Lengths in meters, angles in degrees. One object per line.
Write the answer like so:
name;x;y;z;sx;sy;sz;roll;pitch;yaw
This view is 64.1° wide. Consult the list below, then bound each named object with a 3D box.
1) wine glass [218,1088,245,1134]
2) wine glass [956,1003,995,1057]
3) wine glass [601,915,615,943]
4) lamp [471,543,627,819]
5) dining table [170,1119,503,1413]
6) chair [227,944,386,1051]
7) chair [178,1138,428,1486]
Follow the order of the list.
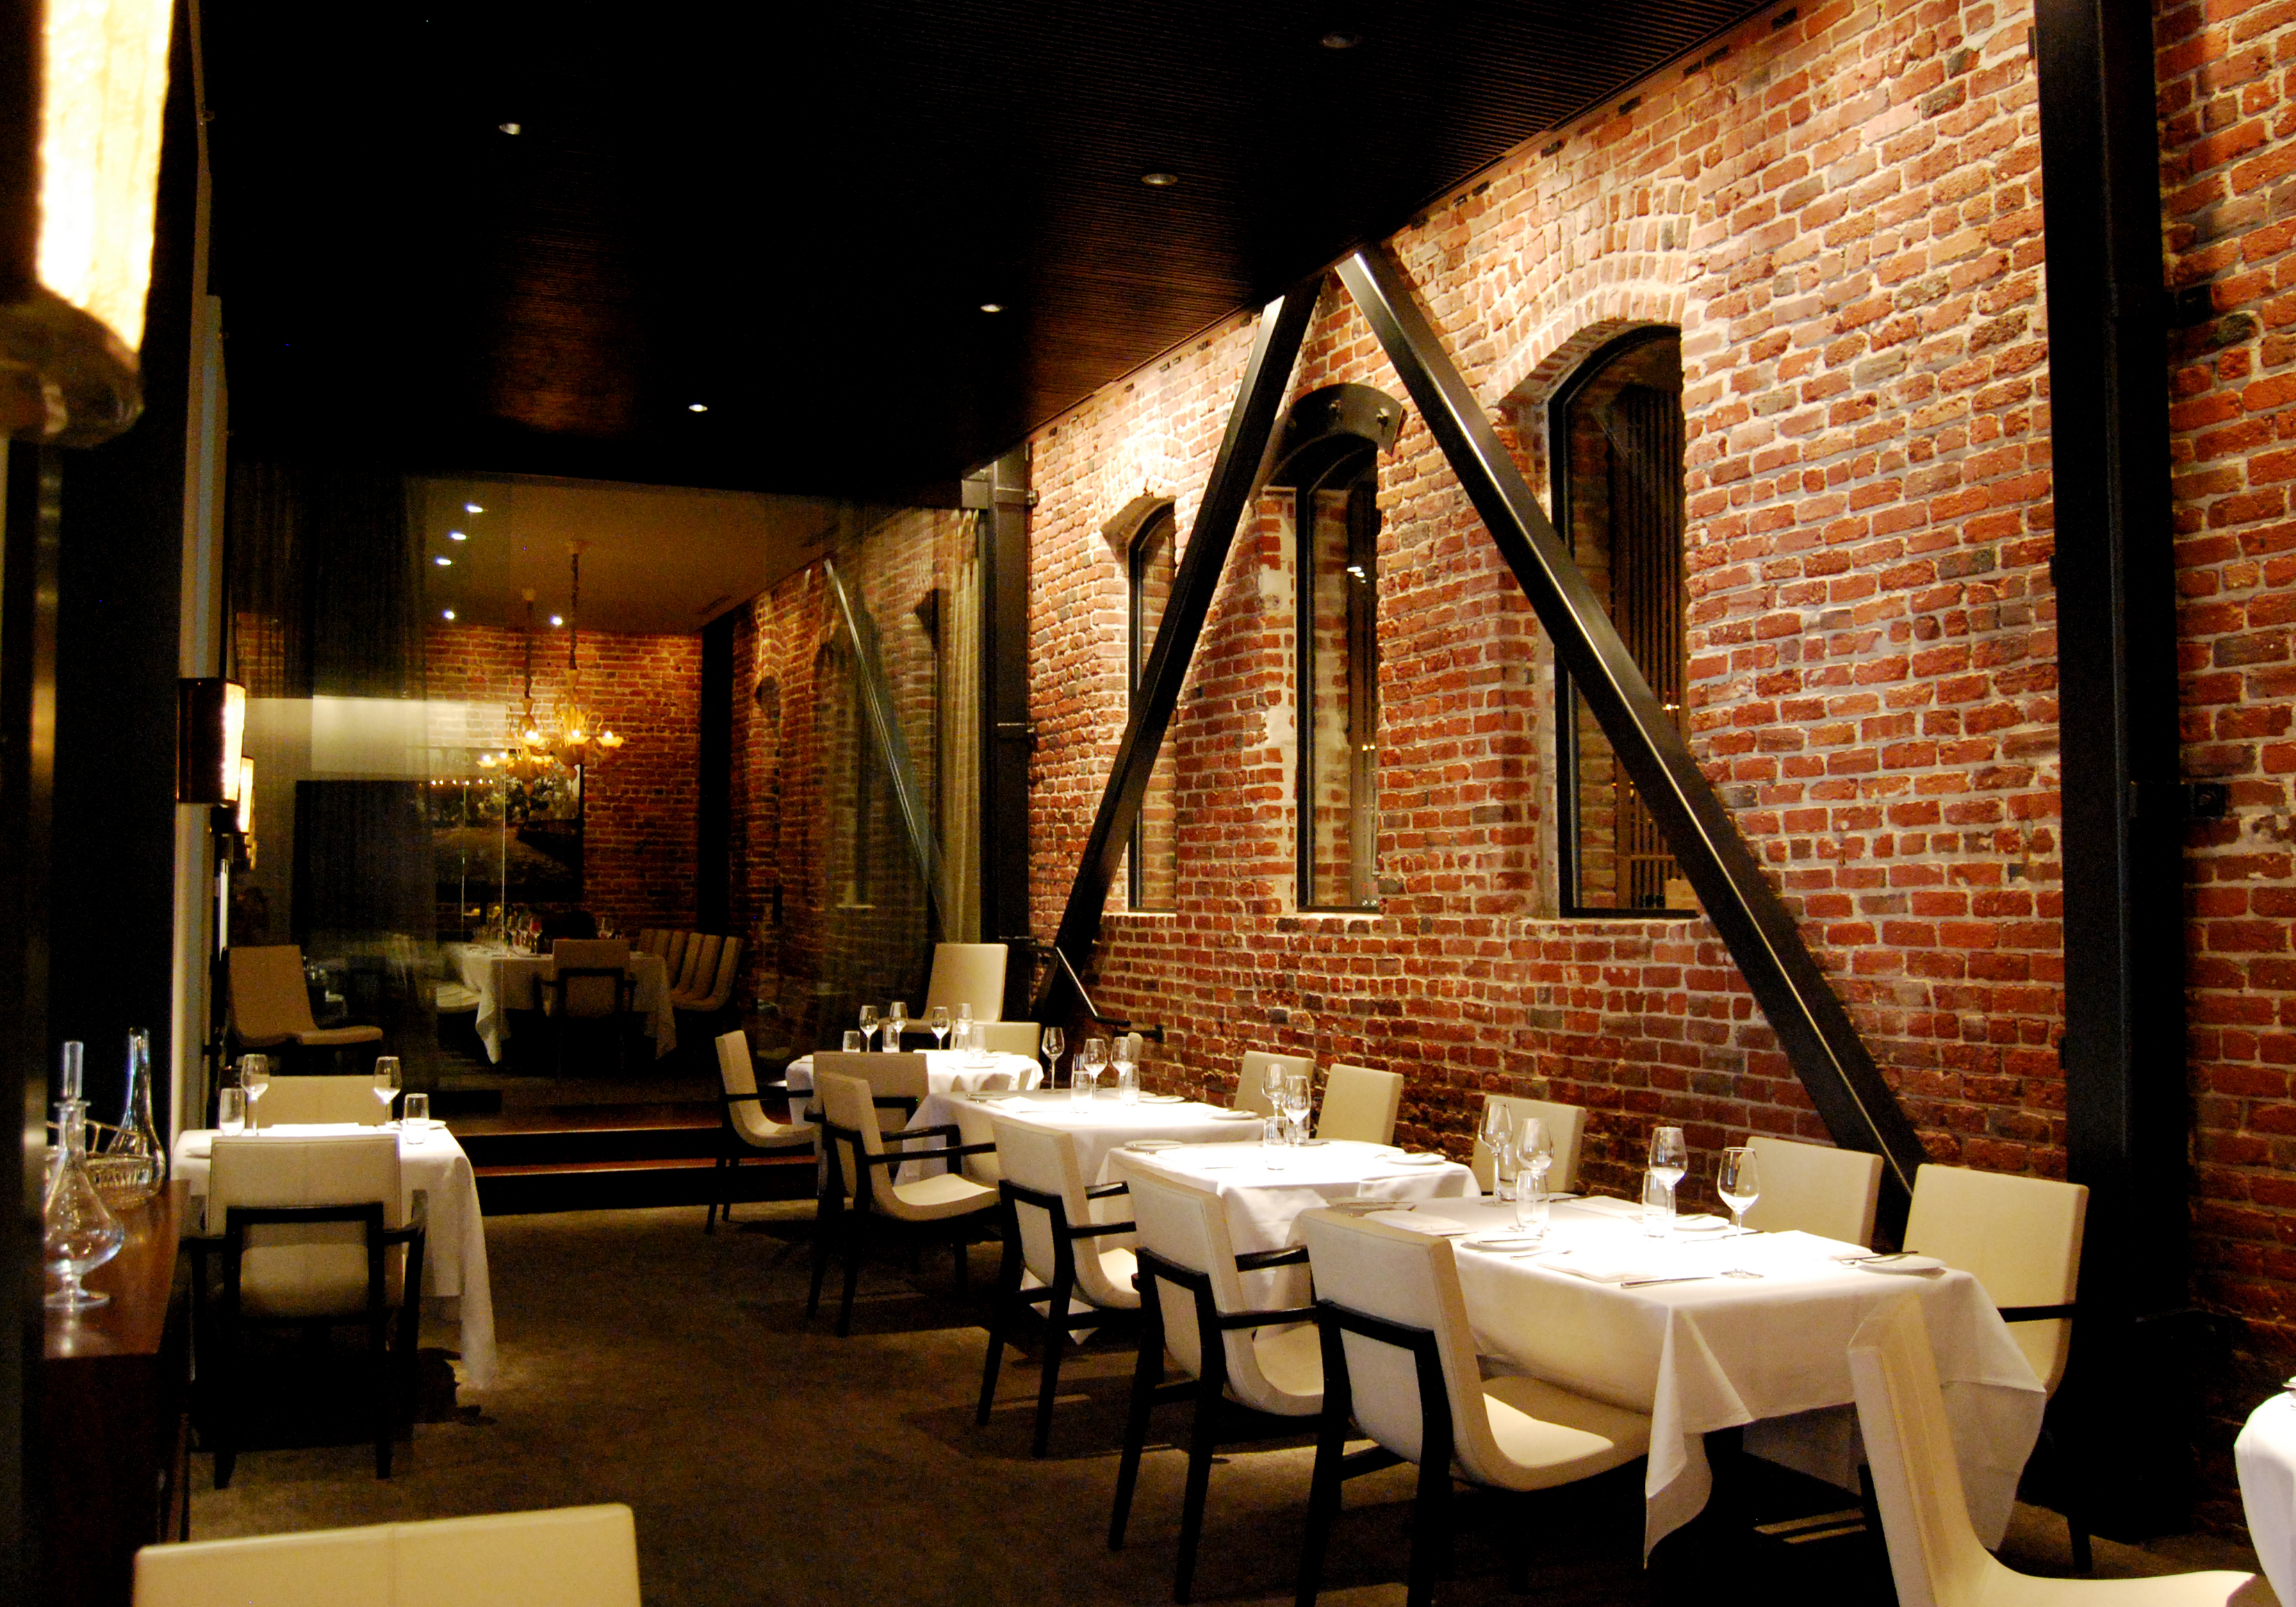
wine glass;-3.214;1.091;6.472;0.109;0.180;0.115;4;-7;-19
wine glass;-0.927;1.227;9.942;0.152;0.293;0.290;-4;-6;38
wine glass;-4.448;1.028;15.011;0.106;0.206;0.109;-1;-9;-1
lamp;-4.868;-0.749;15.154;0.837;1.722;2.007;-1;0;-16
dining table;-2.713;1.473;6.292;1.075;0.841;1.108;-2;-11;-4
chair;-4.824;1.100;10.422;0.640;0.513;0.658;5;-2;16
chair;-2.802;1.605;6.165;0.763;1.129;1.000;1;-3;-12
